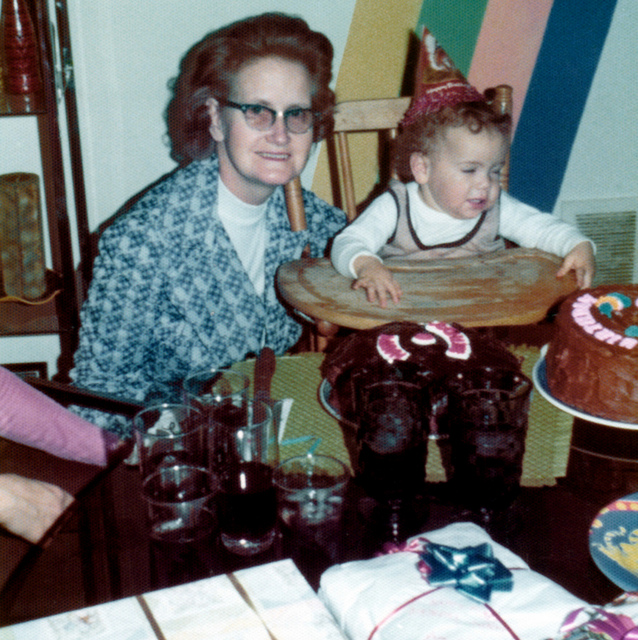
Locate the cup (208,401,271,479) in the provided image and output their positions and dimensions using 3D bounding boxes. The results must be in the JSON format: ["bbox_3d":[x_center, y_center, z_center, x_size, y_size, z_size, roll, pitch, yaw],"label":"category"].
[{"bbox_3d":[-0.094,0.127,0.779,0.111,0.076,0.088,-1,8,-10],"label":"cup"}]

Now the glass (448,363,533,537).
[{"bbox_3d":[0.150,0.147,0.790,0.144,0.150,0.117,5,30,6],"label":"glass"}]

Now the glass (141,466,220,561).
[{"bbox_3d":[-0.144,0.198,0.727,0.080,0.060,0.105,-1,20,-12],"label":"glass"}]
